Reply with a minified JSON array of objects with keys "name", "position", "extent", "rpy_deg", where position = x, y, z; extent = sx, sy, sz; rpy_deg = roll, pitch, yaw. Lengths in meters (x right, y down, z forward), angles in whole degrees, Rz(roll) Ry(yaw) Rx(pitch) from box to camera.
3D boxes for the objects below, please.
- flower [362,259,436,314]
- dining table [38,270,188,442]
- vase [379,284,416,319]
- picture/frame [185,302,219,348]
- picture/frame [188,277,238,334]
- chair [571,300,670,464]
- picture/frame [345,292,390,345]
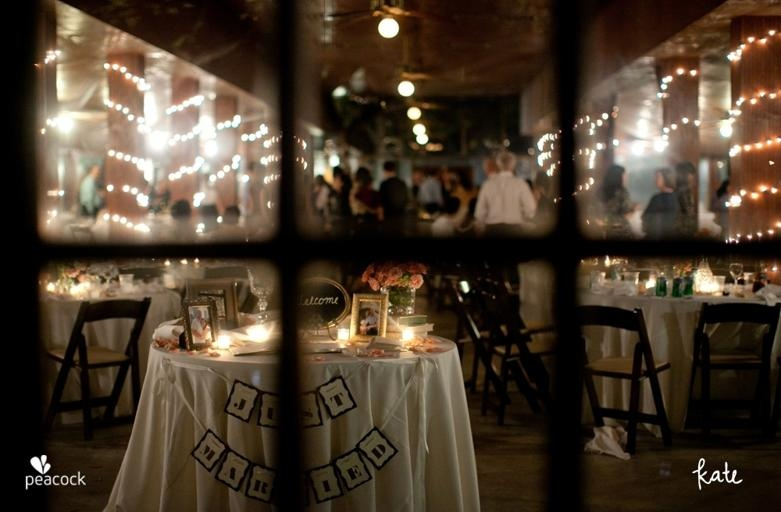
[{"name":"flower","position":[0.041,0.185,4.946],"extent":[0.381,0.338,0.357],"rpy_deg":[-3,0,42]},{"name":"dining table","position":[-2.420,0.853,6.052],"extent":[0.708,0.951,0.683],"rpy_deg":[-3,-5,22]},{"name":"vase","position":[0.031,0.309,5.045],"extent":[0.199,0.199,0.205],"rpy_deg":[-1,-1,33]},{"name":"picture/frame","position":[-1.176,0.430,4.523],"extent":[0.270,0.371,0.043],"rpy_deg":[-2,-19,-22]},{"name":"picture/frame","position":[-1.179,0.338,4.836],"extent":[0.314,0.416,0.031],"rpy_deg":[-2,27,-10]},{"name":"chair","position":[1.821,0.927,5.809],"extent":[0.798,1.047,0.769],"rpy_deg":[4,-2,-14]},{"name":"picture/frame","position":[-0.156,0.403,4.709],"extent":[0.312,0.420,0.042],"rpy_deg":[1,-10,2]}]
